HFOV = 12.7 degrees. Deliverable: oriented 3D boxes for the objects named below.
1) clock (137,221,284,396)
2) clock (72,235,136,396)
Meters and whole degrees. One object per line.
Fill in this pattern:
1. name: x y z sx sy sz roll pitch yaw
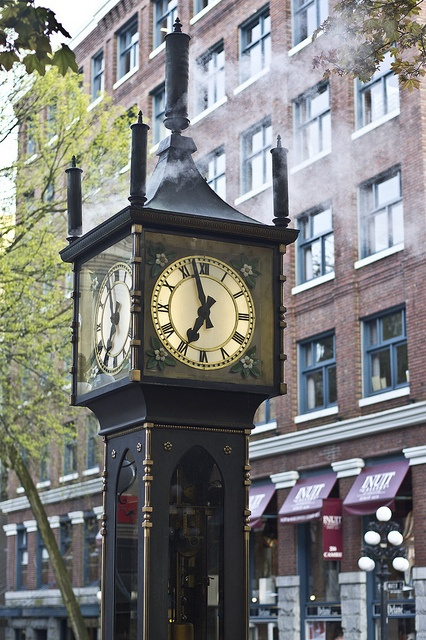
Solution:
1. clock: -0.076 -0.082 15.488 1.120 1.310 0.078 7 -17 -25
2. clock: -0.882 -0.041 15.676 0.062 1.206 0.940 8 -20 -23
